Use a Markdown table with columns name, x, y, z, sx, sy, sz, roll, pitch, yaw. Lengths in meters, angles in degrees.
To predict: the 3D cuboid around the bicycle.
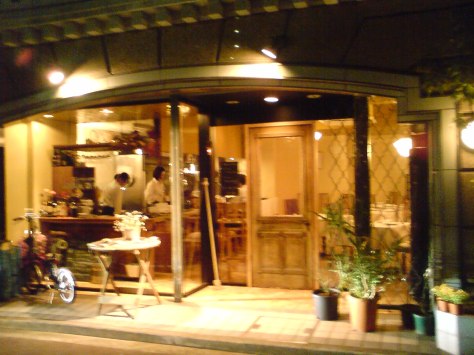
| name | x | y | z | sx | sy | sz | roll | pitch | yaw |
| --- | --- | --- | --- | --- | --- | --- | --- | --- | --- |
| bicycle | -3.658 | 1.736 | 8.468 | 0.633 | 1.116 | 1.405 | -14 | 16 | -43 |

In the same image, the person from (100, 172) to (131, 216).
| name | x | y | z | sx | sy | sz | roll | pitch | yaw |
| --- | --- | --- | --- | --- | --- | --- | --- | --- | --- |
| person | -2.521 | 0.323 | 9.226 | 0.657 | 0.844 | 0.329 | -5 | 12 | -14 |

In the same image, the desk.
| name | x | y | z | sx | sy | sz | roll | pitch | yaw |
| --- | --- | --- | --- | --- | --- | --- | --- | --- | --- |
| desk | -2.030 | 1.731 | 8.162 | 1.347 | 1.406 | 1.303 | -1 | -6 | 15 |

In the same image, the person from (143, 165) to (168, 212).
| name | x | y | z | sx | sy | sz | roll | pitch | yaw |
| --- | --- | --- | --- | --- | --- | --- | --- | --- | --- |
| person | -1.560 | 0.230 | 8.626 | 0.614 | 0.870 | 0.241 | 8 | 16 | 42 |

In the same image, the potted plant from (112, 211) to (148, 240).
| name | x | y | z | sx | sy | sz | roll | pitch | yaw |
| --- | --- | --- | --- | --- | --- | --- | --- | --- | --- |
| potted plant | -2.000 | 0.878 | 8.328 | 0.560 | 0.392 | 0.541 | 2 | -2 | -38 |
